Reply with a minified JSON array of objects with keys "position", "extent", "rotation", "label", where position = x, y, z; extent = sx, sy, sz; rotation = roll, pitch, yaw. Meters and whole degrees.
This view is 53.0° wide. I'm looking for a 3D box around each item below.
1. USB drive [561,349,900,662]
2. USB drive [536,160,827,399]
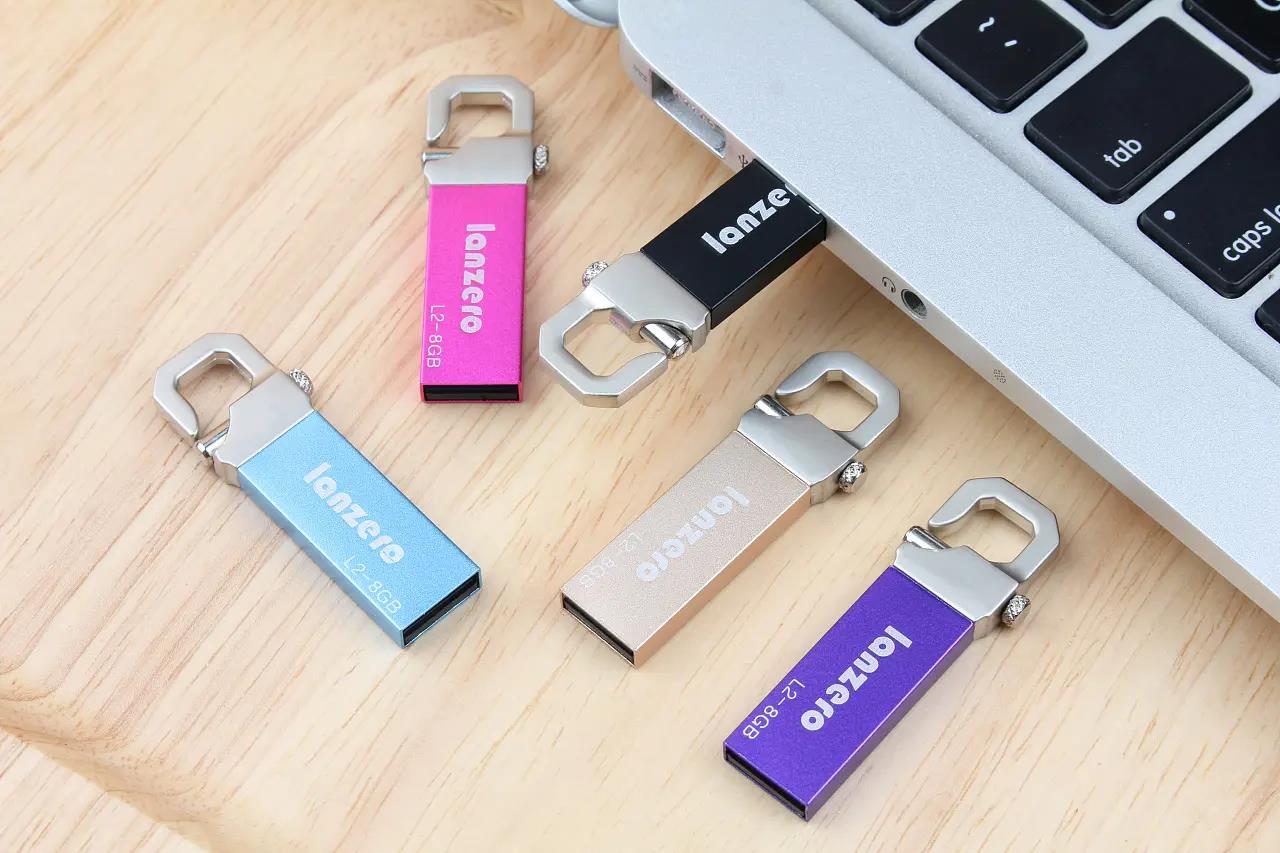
[{"position":[0.068,0.045,0.826],"extent":[0.109,0.300,0.032],"rotation":[37,-21,23],"label":"USB drive"},{"position":[0.029,-0.080,0.818],"extent":[0.094,0.219,0.038],"rotation":[44,-15,16],"label":"USB drive"}]
